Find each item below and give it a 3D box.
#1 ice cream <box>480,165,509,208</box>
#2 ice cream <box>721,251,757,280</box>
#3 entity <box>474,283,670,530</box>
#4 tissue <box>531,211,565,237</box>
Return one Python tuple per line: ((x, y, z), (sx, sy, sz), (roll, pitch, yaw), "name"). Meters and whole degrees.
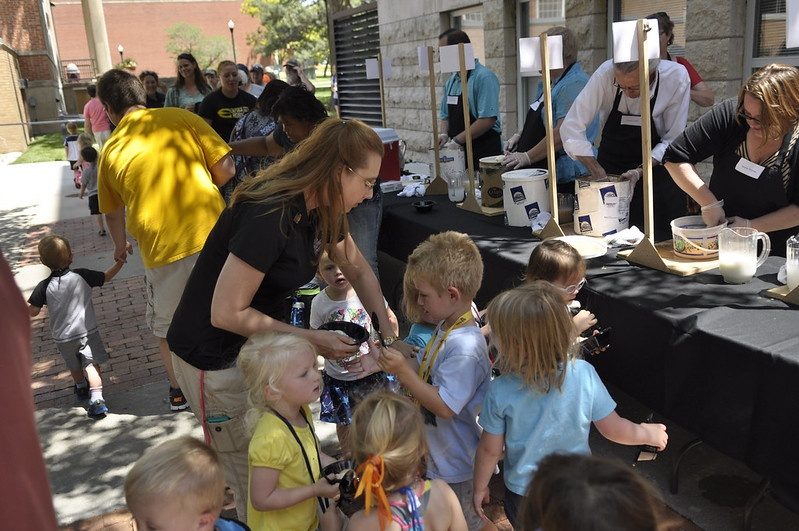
((0.698, -0.604, 4.318), (0.257, 0.293, 0.261), (-2, 17, 1), "ice cream")
((1.705, -0.001, 2.917), (0.151, 0.139, 0.152), (-2, 13, -1), "ice cream")
((0.661, 0.606, 2.469), (0.748, 1.052, 0.308), (-9, 15, -12), "entity")
((0.955, -0.252, 3.738), (0.132, 0.056, 0.182), (-16, 35, 7), "tissue")
